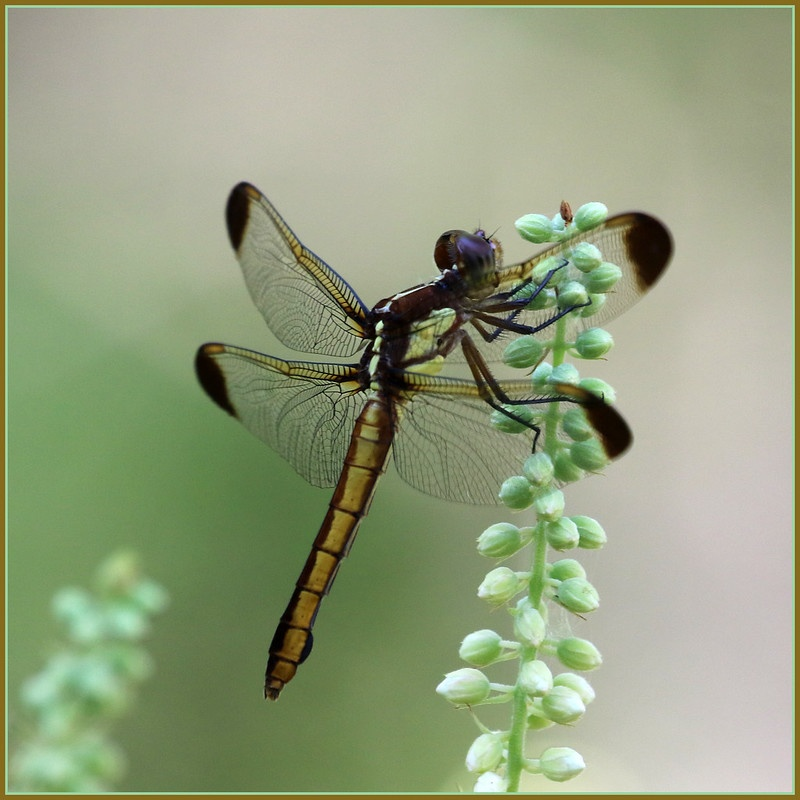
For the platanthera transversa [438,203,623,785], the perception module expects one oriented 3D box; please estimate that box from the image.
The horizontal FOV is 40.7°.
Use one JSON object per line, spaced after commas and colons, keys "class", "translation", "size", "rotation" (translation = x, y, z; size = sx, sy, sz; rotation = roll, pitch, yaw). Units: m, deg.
{"class": "platanthera transversa", "translation": [0.555, 0.205, 4.710], "size": [0.560, 3.134, 1.928], "rotation": [4, -78, 5]}
